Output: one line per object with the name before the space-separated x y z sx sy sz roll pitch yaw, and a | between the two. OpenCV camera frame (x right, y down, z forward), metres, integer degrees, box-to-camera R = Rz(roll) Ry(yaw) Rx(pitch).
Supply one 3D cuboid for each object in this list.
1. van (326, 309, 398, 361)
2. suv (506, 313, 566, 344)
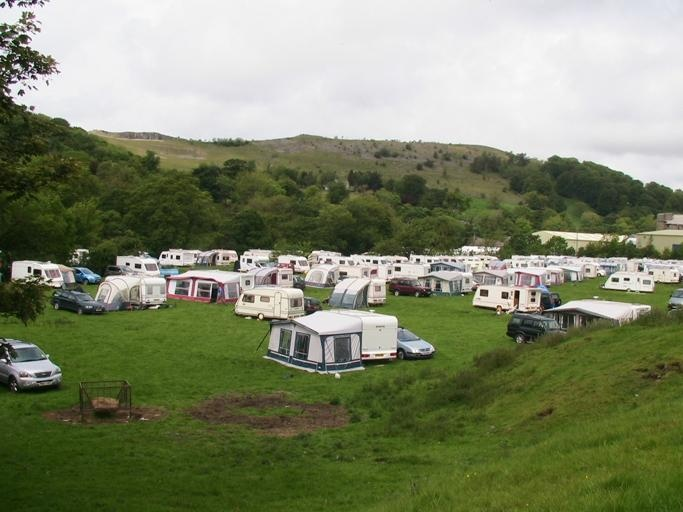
van | 1.381 4.310 46.410 2.143 1.858 3.484 -1 5 -23
suv | 11.015 4.169 48.222 1.497 1.326 2.513 -2 -1 -40
